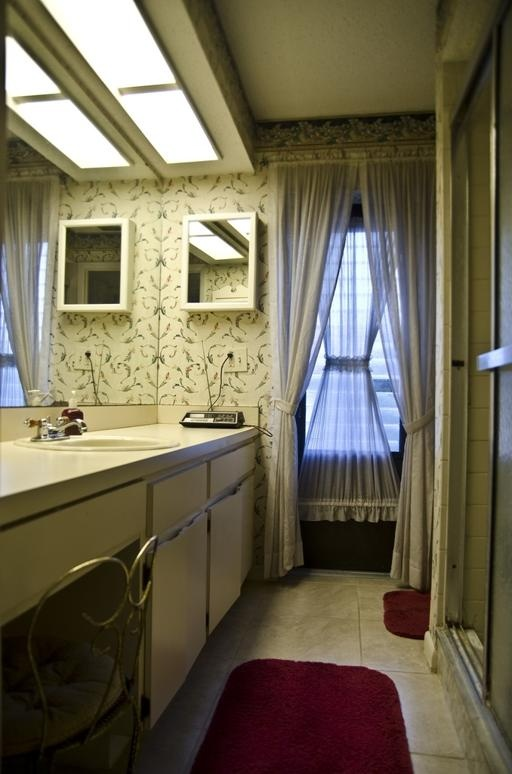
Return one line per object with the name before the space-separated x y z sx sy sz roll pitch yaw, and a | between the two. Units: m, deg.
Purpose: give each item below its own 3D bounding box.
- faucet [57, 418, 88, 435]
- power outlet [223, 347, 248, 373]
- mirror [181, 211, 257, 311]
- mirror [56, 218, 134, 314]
faucet | -0.640 0.137 1.786 0.149 0.083 0.044 0 2 39
power outlet | -0.112 -0.163 3.030 0.102 0.156 0.014 2 2 19
mirror | -0.202 -0.706 2.963 0.406 0.752 0.071 0 -6 3
mirror | -0.690 -0.565 2.191 0.275 0.171 0.432 -2 -39 -23
